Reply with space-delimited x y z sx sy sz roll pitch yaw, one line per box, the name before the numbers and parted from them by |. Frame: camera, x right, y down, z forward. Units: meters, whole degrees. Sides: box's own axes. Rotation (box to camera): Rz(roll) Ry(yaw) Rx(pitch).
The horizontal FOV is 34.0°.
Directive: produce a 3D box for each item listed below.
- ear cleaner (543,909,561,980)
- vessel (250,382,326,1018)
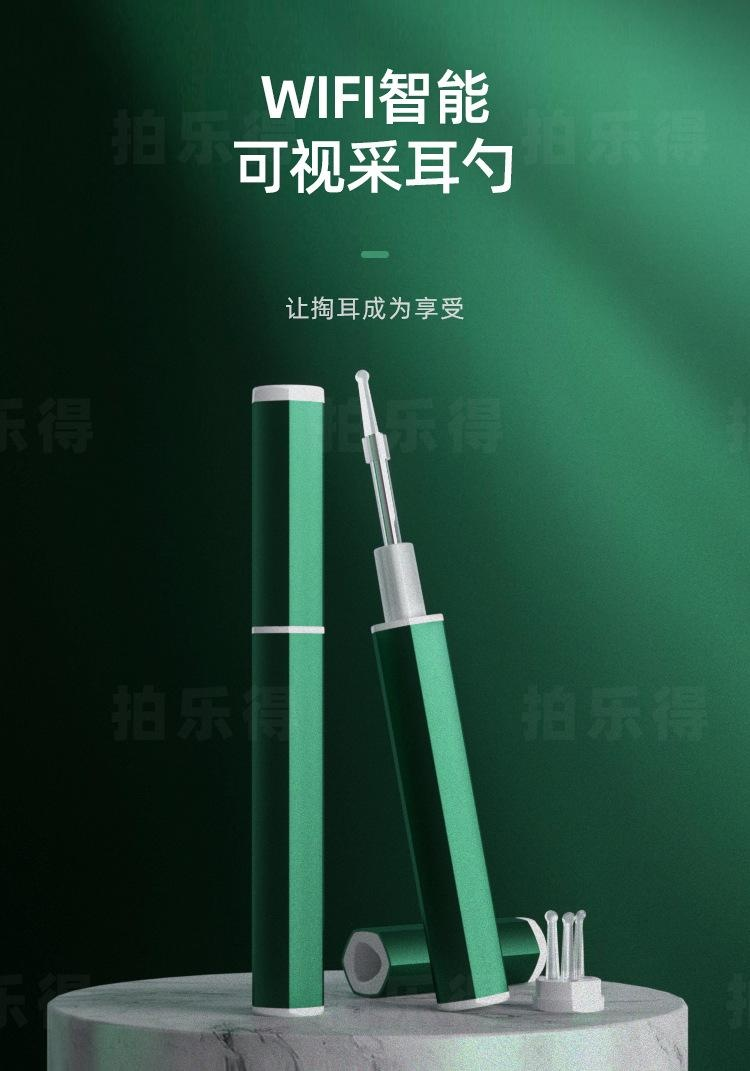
ear cleaner | 0.117 0.269 0.810 0.010 0.042 0.010 -3 -14 19
vessel | -0.055 0.101 0.782 0.043 0.396 0.045 0 -1 -8
